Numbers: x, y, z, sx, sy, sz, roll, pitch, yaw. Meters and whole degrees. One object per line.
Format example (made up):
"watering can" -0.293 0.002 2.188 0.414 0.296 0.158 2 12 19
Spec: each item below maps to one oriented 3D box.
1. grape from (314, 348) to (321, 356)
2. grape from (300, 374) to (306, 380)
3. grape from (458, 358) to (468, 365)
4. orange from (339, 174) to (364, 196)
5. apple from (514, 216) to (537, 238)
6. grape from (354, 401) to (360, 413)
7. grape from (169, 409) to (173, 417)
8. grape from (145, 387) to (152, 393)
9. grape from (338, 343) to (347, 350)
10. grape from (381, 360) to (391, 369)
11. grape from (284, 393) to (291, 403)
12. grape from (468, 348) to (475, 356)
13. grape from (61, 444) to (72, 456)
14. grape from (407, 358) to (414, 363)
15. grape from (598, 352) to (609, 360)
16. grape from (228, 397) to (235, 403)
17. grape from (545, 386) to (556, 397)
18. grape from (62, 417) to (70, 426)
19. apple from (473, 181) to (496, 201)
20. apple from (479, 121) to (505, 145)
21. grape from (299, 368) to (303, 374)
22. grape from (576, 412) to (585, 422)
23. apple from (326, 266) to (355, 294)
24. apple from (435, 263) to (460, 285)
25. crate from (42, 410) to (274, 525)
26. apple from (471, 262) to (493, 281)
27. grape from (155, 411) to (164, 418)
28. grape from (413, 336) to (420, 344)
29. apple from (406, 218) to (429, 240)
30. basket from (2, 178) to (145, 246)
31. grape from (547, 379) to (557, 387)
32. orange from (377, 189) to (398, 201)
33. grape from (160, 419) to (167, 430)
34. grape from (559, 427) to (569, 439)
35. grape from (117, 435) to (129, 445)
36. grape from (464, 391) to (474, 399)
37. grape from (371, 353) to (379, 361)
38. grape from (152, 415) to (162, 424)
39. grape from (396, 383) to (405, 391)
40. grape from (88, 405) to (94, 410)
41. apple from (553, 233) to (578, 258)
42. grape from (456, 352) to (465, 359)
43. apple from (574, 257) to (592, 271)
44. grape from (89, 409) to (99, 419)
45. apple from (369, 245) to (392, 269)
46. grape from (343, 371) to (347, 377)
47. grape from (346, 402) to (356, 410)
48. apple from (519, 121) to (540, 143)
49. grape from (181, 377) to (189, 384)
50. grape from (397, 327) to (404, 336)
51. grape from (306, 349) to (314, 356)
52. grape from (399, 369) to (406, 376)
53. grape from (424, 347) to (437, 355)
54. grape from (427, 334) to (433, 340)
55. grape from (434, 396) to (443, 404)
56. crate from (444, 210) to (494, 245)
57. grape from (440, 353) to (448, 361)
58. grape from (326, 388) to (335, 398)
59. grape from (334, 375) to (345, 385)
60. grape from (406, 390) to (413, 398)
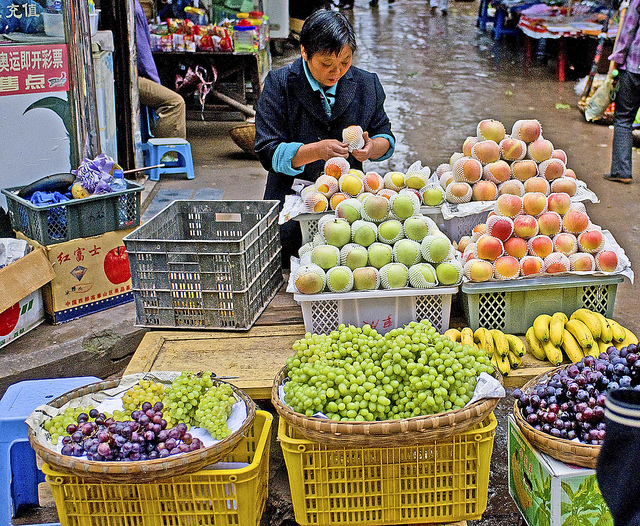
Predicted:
"grape" -0.009 0.370 3.045 0.024 0.016 0.038 -7 24 -16
"grape" -0.068 0.465 2.981 0.021 0.020 0.019 15 40 -5
"grape" 0.576 0.399 2.970 0.038 0.027 0.016 -6 22 -13
"orange" 0.159 -0.403 3.789 0.092 0.065 0.107 29 10 2
"apple" 0.969 -0.170 3.479 0.081 0.095 0.090 -4 -26 -4
"grape" 0.147 0.565 2.869 0.021 0.033 0.019 4 -15 1
"grape" -0.614 0.622 3.024 0.011 0.026 0.012 -7 -3 9
"grape" -0.720 0.539 3.096 0.016 0.023 0.018 -1 3 3
"grape" 0.095 0.348 3.039 0.028 0.014 0.035 -9 24 -20
"grape" 0.263 0.408 2.936 0.031 0.020 0.024 -24 35 -31
"grape" -0.134 0.559 3.000 0.008 0.026 0.025 0 50 -36
"grape" 0.627 0.372 3.057 0.023 0.031 0.024 -2 14 -43
"grape" -0.995 0.742 2.885 0.028 0.034 0.040 -1 -6 -6
"grape" 0.359 0.392 2.931 0.015 0.022 0.017 3 16 -5
"grape" 1.235 0.410 3.194 0.031 0.021 0.036 4 17 9
"grape" -0.370 0.578 3.083 0.021 0.021 0.019 -10 11 -21
"grape" 0.969 0.544 3.095 0.031 0.025 0.041 6 -21 -28
"grape" -1.038 0.653 3.003 0.022 0.032 0.024 -2 0 2
"apple" 0.837 -0.365 3.745 0.087 0.104 0.095 -1 10 -5
"apple" 0.891 -0.680 3.850 0.099 0.136 0.111 -1 13 14
"grape" -0.076 0.445 3.003 0.016 0.022 0.017 -13 8 -18
"grape" 1.050 0.629 2.973 0.025 0.029 0.016 18 20 28
"apple" 0.097 0.081 3.317 0.094 0.105 0.123 0 2 0
"apple" 0.579 0.051 3.299 0.071 0.085 0.097 0 4 -1
"crate" -0.638 0.997 3.157 0.735 0.469 0.884 -1 15 0
"apple" 0.742 0.041 3.388 0.079 0.076 0.072 1 1 13
"grape" -0.656 0.622 2.988 0.023 0.020 0.019 26 -20 4
"grape" 0.389 0.313 2.973 0.025 0.021 0.022 3 22 8
"apple" 0.455 -0.168 3.467 0.081 0.100 0.094 12 18 -4
"basket" -1.568 -0.333 4.742 0.842 0.296 0.450 -12 25 -25
"grape" 0.986 0.513 3.127 0.027 0.014 0.030 -15 23 21
"orange" 0.338 -0.349 3.696 0.069 0.032 0.077 -1 30 -9
"grape" -0.631 0.656 2.969 0.026 0.036 0.028 -3 10 -4
"grape" 0.982 0.694 2.968 0.025 0.033 0.038 0 -5 -4
"grape" -0.770 0.694 2.860 0.027 0.019 0.029 2 26 -2
"grape" 0.601 0.531 2.931 0.022 0.034 0.018 -5 -21 4
"grape" 0.224 0.383 2.983 0.022 0.025 0.023 26 21 39
"grape" -0.654 0.636 2.966 0.031 0.030 0.031 2 49 11
"grape" 0.322 0.502 2.936 0.017 0.015 0.026 11 60 24
"grape" -0.960 0.609 3.094 0.018 0.018 0.023 1 4 -6
"apple" 1.160 -0.086 3.481 0.091 0.114 0.107 -11 23 5
"grape" 0.569 0.376 2.981 0.033 0.016 0.032 6 23 15
"apple" 1.219 0.008 3.437 0.054 0.052 0.065 -6 23 28
"grape" -0.920 0.618 2.997 0.028 0.037 0.035 11 58 -9
"apple" 0.278 -0.030 3.393 0.086 0.107 0.099 -4 19 -8
"grape" 0.104 0.448 2.960 0.014 0.023 0.012 0 47 4
"grape" 0.123 0.562 2.872 0.025 0.022 0.020 -4 -3 22
"apple" 1.073 -0.682 3.806 0.085 0.120 0.093 6 19 1
"grape" -0.566 0.494 3.081 0.020 0.024 0.022 -2 7 -4
"grape" 0.334 0.287 3.052 0.019 0.026 0.020 -21 5 15
"grape" -0.041 0.379 3.066 0.031 0.031 0.012 1 21 4
"grape" 0.330 0.439 2.928 0.019 0.026 0.021 12 24 -4
"grape" 0.443 0.354 2.946 0.027 0.014 0.030 4 19 24
"grape" 0.448 0.305 2.990 0.011 0.013 0.016 -12 32 -15
"grape" 0.462 0.538 2.876 0.025 0.022 0.036 1 -6 1
"crate" 0.757 -0.218 3.893 0.156 0.113 0.172 -6 24 -5
"grape" 0.493 0.375 2.930 0.021 0.026 0.023 -16 46 28
"grape" 0.040 0.517 2.903 0.023 0.028 0.034 2 20 4
"grape" 0.078 0.466 2.928 0.032 0.020 0.025 -30 42 18
"grape" 0.353 0.522 2.903 0.020 0.028 0.021 -1 7 5
